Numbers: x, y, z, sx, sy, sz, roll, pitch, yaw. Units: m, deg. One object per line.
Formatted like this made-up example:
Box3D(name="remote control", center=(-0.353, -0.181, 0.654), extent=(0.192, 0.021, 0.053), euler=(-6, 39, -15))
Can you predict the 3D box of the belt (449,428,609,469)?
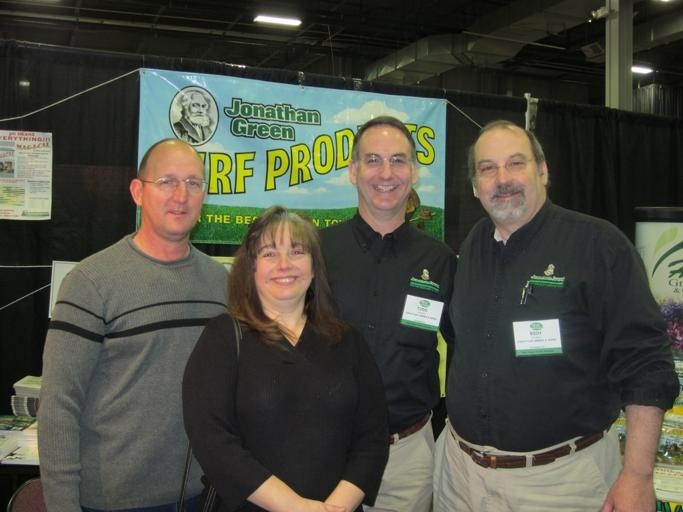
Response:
Box3D(name="belt", center=(0.907, 0.926, 3.217), extent=(0.675, 0.185, 0.107), euler=(1, 2, 11))
